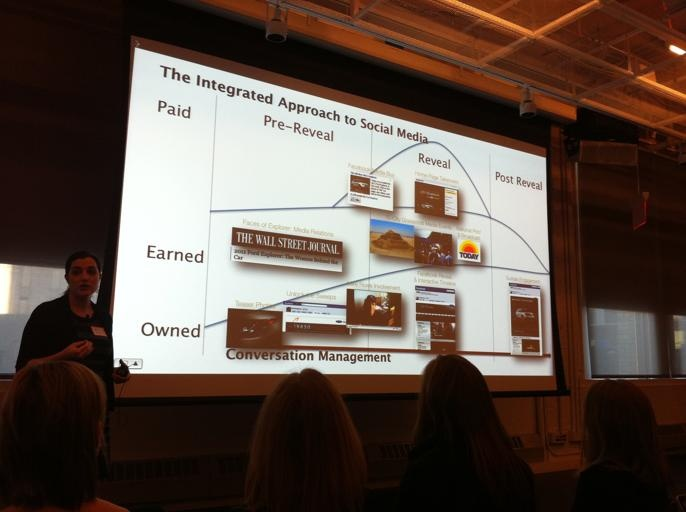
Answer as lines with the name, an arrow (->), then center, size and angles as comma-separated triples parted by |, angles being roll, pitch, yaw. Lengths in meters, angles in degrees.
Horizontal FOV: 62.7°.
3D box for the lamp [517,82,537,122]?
lamp -> 1.447, -1.208, 4.421 | 0.102, 0.252, 0.219 | -2, -8, 20
